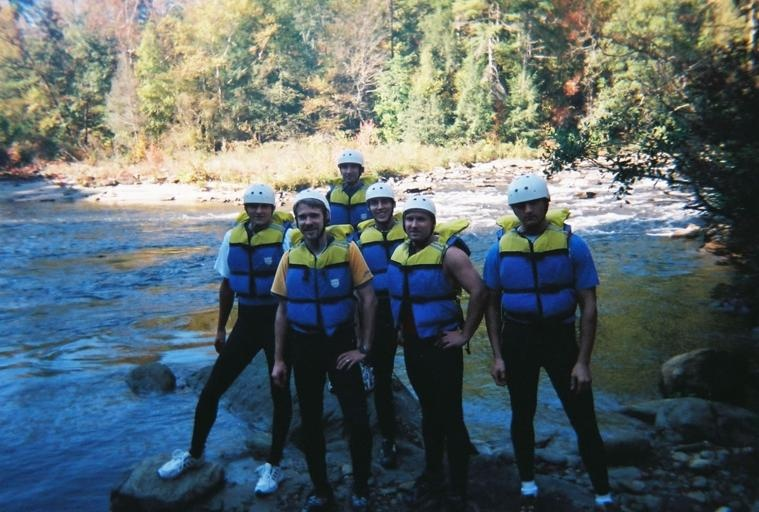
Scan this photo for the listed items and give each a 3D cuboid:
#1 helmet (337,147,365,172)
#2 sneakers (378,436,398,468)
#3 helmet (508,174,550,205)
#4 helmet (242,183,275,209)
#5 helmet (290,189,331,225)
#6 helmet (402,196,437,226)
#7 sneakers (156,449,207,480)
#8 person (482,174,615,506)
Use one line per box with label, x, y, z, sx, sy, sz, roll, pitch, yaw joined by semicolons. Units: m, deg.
helmet;-0.450;-1.452;8.431;0.367;0.354;0.364;-4;6;-6
sneakers;0.104;2.417;6.666;0.176;0.297;0.304;0;-24;1
helmet;1.567;-0.672;5.795;0.310;0.335;0.399;-12;-3;15
helmet;-1.419;-0.700;6.510;0.241;0.343;0.248;0;-1;-1
helmet;-0.748;-0.522;6.005;0.309;0.411;0.373;-1;3;-1
helmet;0.444;-0.543;5.989;0.256;0.335;0.260;-2;49;12
sneakers;-2.235;2.323;6.177;0.242;0.138;0.403;2;5;26
person;1.706;0.868;5.708;1.191;3.427;0.579;-2;6;11
